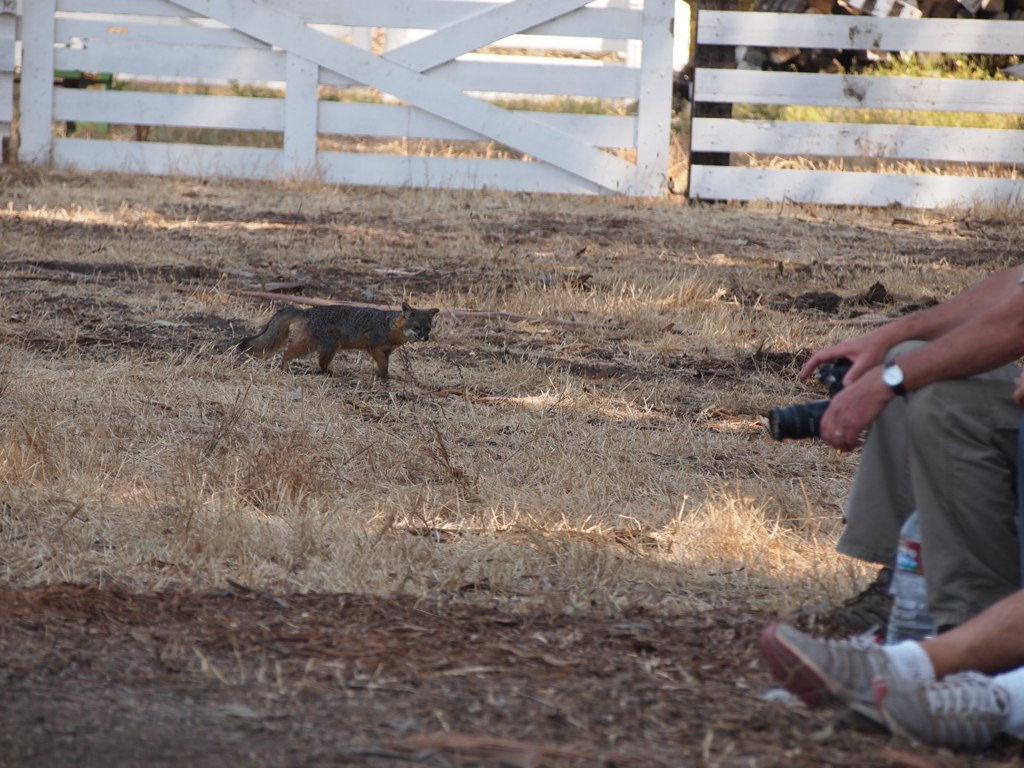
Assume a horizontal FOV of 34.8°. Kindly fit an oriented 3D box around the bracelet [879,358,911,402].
[{"bbox_3d":[1.717,-0.023,7.430,0.168,0.106,0.157,47,1,23],"label":"bracelet"}]

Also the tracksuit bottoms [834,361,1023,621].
[{"bbox_3d":[1.965,0.470,7.488,0.785,1.249,0.338,10,8,36],"label":"tracksuit bottoms"}]

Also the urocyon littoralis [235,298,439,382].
[{"bbox_3d":[-1.265,-0.315,11.592,1.432,0.516,0.295,3,4,-35],"label":"urocyon littoralis"}]

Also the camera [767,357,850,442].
[{"bbox_3d":[1.396,0.089,7.728,0.500,0.307,0.171,-11,23,-5],"label":"camera"}]
